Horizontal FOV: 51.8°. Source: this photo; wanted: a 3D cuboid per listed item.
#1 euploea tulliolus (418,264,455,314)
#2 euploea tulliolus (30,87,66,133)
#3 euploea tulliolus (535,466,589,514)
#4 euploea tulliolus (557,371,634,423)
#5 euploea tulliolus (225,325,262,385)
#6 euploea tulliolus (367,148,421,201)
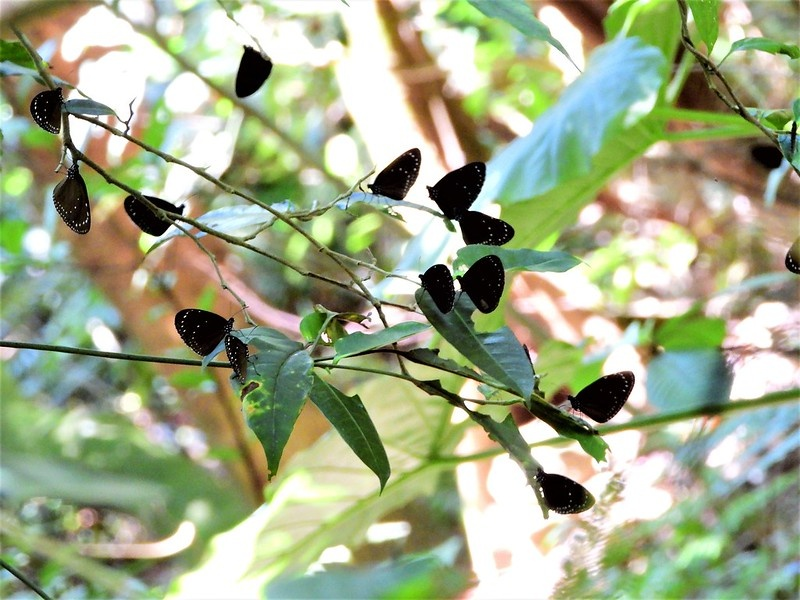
[{"bbox_3d":[0.050,-0.015,0.938,0.050,0.049,0.013,-27,2,41],"label":"euploea tulliolus"},{"bbox_3d":[-0.415,-0.225,0.967,0.033,0.073,0.062,4,-52,-23],"label":"euploea tulliolus"},{"bbox_3d":[0.178,0.214,0.921,0.067,0.021,0.047,26,-80,-14],"label":"euploea tulliolus"},{"bbox_3d":[0.233,0.107,0.965,0.094,0.055,0.051,-18,-8,41],"label":"euploea tulliolus"},{"bbox_3d":[-0.181,0.060,0.903,0.035,0.072,0.034,-31,-47,7],"label":"euploea tulliolus"},{"bbox_3d":[-0.003,-0.145,1.008,0.059,0.031,0.066,-33,-19,8],"label":"euploea tulliolus"}]
